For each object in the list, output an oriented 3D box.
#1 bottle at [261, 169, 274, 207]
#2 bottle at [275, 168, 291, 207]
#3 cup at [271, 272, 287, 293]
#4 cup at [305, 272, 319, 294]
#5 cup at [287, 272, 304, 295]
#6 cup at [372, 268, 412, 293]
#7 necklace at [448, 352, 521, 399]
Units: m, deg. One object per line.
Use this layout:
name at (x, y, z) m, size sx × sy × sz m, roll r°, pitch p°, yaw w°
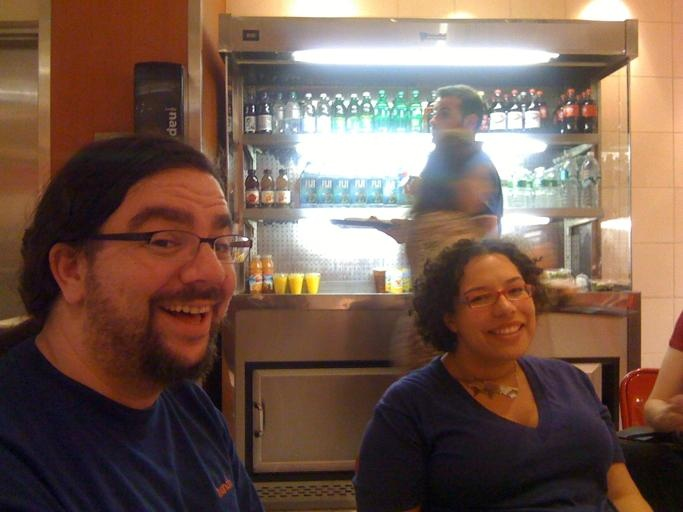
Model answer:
bottle at (-0.470, -0.423, 4.289) m, size 0.092 × 0.195 × 0.101 m, roll 0°, pitch 6°, yaw 0°
bottle at (-0.376, -0.449, 4.359) m, size 0.098 × 0.232 × 0.248 m, roll -1°, pitch 6°, yaw -5°
cup at (-0.383, 0.152, 4.235) m, size 0.103 × 0.117 × 0.101 m, roll 1°, pitch -5°, yaw 0°
cup at (-0.184, 0.159, 4.305) m, size 0.109 × 0.120 × 0.110 m, roll -1°, pitch -5°, yaw 0°
cup at (-0.288, 0.163, 4.232) m, size 0.112 × 0.121 × 0.112 m, roll -1°, pitch -2°, yaw 0°
cup at (0.306, 0.148, 4.292) m, size 0.205 × 0.204 × 0.124 m, roll 1°, pitch 3°, yaw 9°
necklace at (0.526, 0.456, 2.543) m, size 0.214 × 0.064 × 0.160 m, roll 29°, pitch 35°, yaw 35°
